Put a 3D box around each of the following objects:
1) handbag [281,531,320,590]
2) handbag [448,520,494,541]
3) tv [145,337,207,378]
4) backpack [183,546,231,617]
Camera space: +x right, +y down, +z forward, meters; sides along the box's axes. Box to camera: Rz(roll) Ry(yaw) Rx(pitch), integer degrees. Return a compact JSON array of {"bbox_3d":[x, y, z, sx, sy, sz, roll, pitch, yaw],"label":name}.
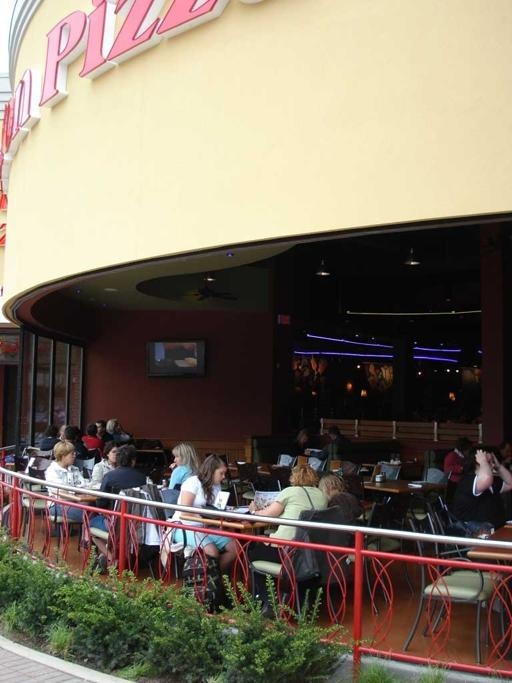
[{"bbox_3d":[0.267,1.322,3.340,0.224,0.395,0.419,0,-6,2],"label":"handbag"},{"bbox_3d":[1.604,1.395,4.224,0.267,0.124,0.331,6,-8,-40],"label":"handbag"},{"bbox_3d":[-1.856,0.370,13.022,1.303,0.828,0.140,1,-6,-2],"label":"tv"},{"bbox_3d":[-0.256,1.583,3.832,0.351,0.321,0.212,-13,-13,-34],"label":"backpack"}]
